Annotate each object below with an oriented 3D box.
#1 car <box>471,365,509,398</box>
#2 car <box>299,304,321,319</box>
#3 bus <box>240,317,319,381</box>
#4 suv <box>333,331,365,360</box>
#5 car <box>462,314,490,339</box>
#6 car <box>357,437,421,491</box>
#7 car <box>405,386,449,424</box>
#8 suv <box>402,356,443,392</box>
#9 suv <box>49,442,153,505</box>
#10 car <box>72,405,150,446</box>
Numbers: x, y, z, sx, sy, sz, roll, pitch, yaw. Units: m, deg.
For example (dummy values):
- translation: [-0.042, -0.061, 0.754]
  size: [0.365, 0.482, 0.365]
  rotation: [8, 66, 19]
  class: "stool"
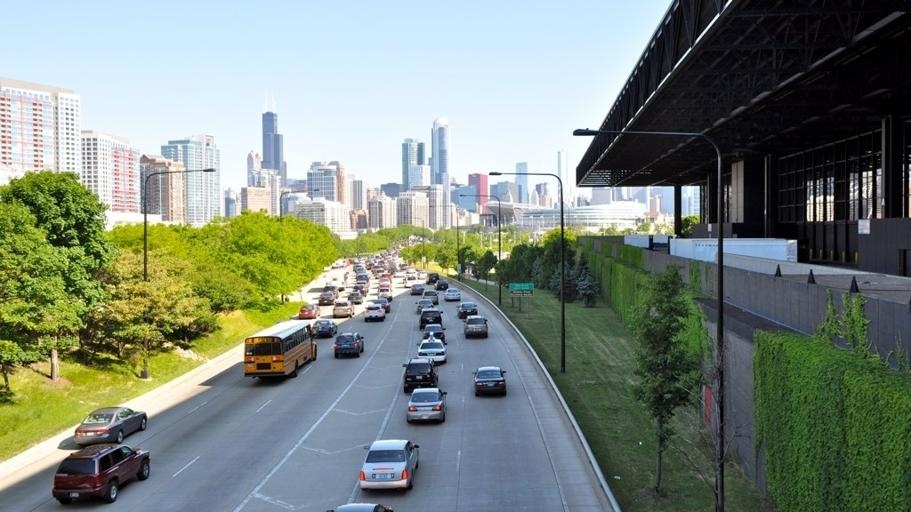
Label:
- translation: [2.553, 9.717, 57.107]
  size: [2.306, 1.993, 1.530]
  rotation: [-1, 4, -7]
  class: "car"
- translation: [-17.265, 6.845, 90.243]
  size: [1.923, 1.561, 2.948]
  rotation: [0, 4, 8]
  class: "car"
- translation: [-14.782, 8.341, 65.989]
  size: [3.521, 4.058, 11.161]
  rotation: [-4, 2, 4]
  class: "bus"
- translation: [-9.711, 8.372, 69.930]
  size: [2.421, 2.058, 2.991]
  rotation: [-1, 4, 0]
  class: "suv"
- translation: [1.947, 7.388, 76.080]
  size: [2.143, 1.964, 2.031]
  rotation: [-2, 4, -19]
  class: "car"
- translation: [-3.965, 12.908, 47.274]
  size: [3.222, 2.488, 7.462]
  rotation: [-2, 2, 0]
  class: "car"
- translation: [-2.036, 10.702, 54.717]
  size: [2.652, 2.132, 6.346]
  rotation: [-1, 2, 3]
  class: "car"
- translation: [-2.876, 9.062, 59.734]
  size: [2.578, 2.490, 4.738]
  rotation: [0, 12, -2]
  class: "suv"
- translation: [-20.619, 12.985, 45.863]
  size: [2.557, 2.437, 5.377]
  rotation: [1, 6, 19]
  class: "suv"
- translation: [-23.585, 11.758, 52.478]
  size: [2.765, 2.148, 6.409]
  rotation: [0, 1, 3]
  class: "car"
